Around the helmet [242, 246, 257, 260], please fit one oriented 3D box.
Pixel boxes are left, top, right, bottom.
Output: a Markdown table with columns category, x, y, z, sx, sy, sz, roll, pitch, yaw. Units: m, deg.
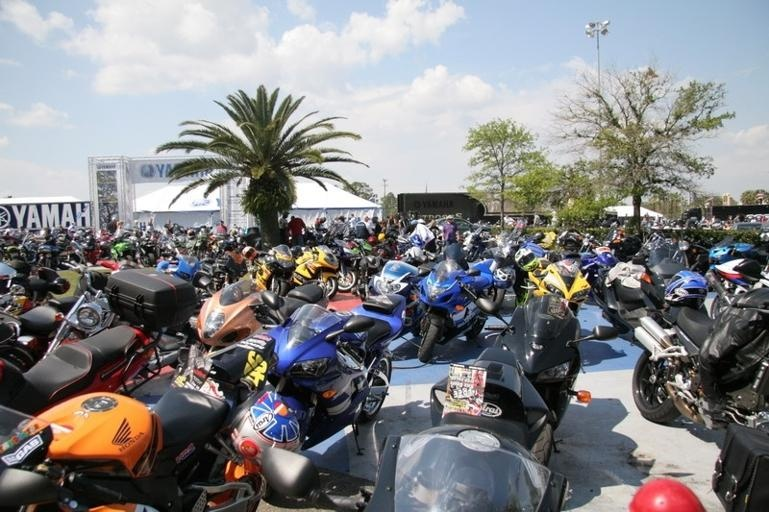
| category | x | y | z | sx | sy | sz | roll | pitch | yaw |
| --- | --- | --- | --- | --- | --- | --- | --- | --- | --- |
| helmet | -3.027 | -0.094 | 10.610 | 0.275 | 0.242 | 0.333 | 36 | -17 | -21 |

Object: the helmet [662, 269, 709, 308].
| category | x | y | z | sx | sy | sz | roll | pitch | yaw |
| --- | --- | --- | --- | --- | --- | --- | --- | --- | --- |
| helmet | 3.773 | 0.404 | 5.864 | 0.498 | 0.467 | 0.416 | 1 | 3 | 36 |

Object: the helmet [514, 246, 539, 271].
| category | x | y | z | sx | sy | sz | roll | pitch | yaw |
| --- | --- | --- | --- | --- | --- | --- | --- | --- | --- |
| helmet | 2.588 | 0.101 | 8.533 | 0.407 | 0.428 | 0.313 | 15 | 26 | 41 |
